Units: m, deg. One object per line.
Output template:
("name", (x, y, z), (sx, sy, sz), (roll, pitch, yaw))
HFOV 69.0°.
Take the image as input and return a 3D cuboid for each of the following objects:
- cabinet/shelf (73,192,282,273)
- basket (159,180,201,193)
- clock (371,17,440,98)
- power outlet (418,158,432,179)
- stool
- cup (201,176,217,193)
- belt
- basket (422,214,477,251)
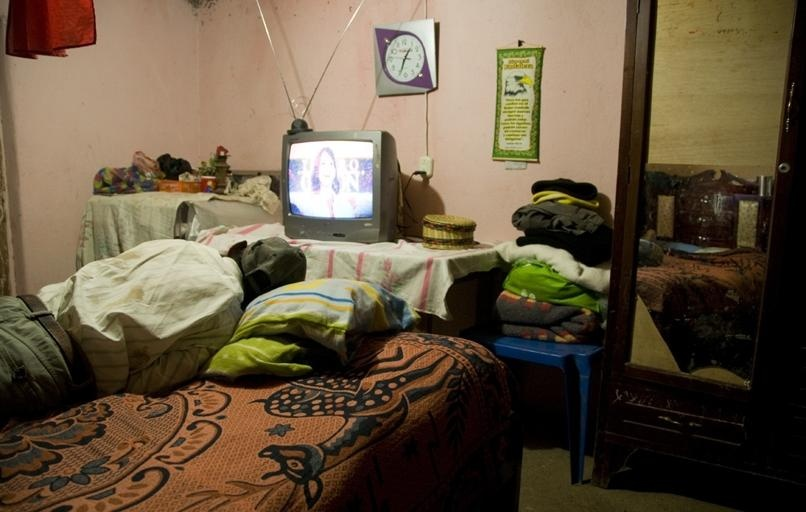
("cabinet/shelf", (-1.457, -0.221, 3.507), (0.624, 0.323, 0.630), (17, 25, 39))
("basket", (-1.433, -0.439, 3.734), (0.277, 0.074, 0.161), (-2, 13, -6))
("clock", (0.031, -1.168, 3.421), (0.523, 0.469, 0.071), (4, 12, 31))
("power outlet", (0.134, -0.516, 3.446), (0.109, 0.150, 0.051), (8, 12, 35))
("stool", (0.747, 0.665, 3.015), (0.725, 0.521, 0.598), (3, 5, 37))
("cup", (-1.245, -0.465, 3.837), (0.107, 0.105, 0.107), (1, 8, 0))
("belt", (-1.116, 0.260, 1.969), (0.086, 0.323, 0.192), (-32, 12, -8))
("basket", (0.230, -0.125, 3.044), (0.211, 0.117, 0.204), (-5, 10, -36))
